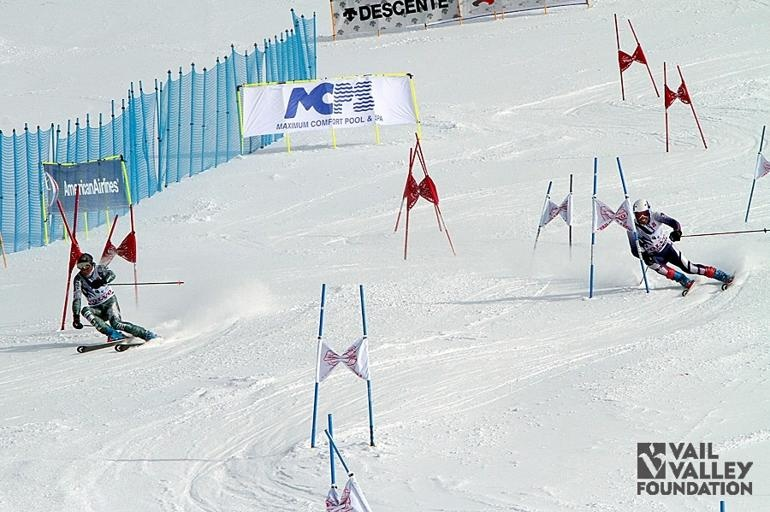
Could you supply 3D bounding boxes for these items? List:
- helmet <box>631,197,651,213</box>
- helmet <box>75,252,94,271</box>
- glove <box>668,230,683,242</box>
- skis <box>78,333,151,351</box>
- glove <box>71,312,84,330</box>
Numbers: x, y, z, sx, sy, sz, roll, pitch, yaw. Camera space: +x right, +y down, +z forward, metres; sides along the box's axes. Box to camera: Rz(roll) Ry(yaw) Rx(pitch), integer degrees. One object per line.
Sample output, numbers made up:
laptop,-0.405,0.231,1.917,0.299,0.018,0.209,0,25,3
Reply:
helmet,5.249,-1.035,19.509,0.277,0.321,0.330,-7,22,1
helmet,-6.193,0.136,19.635,0.335,0.289,0.363,-1,-6,-1
glove,5.921,-0.388,19.546,0.236,0.207,0.208,3,53,11
skis,-5.505,1.789,19.540,1.856,0.232,0.256,-4,-2,15
glove,-6.283,1.343,19.446,0.152,0.278,0.259,-12,11,-16
